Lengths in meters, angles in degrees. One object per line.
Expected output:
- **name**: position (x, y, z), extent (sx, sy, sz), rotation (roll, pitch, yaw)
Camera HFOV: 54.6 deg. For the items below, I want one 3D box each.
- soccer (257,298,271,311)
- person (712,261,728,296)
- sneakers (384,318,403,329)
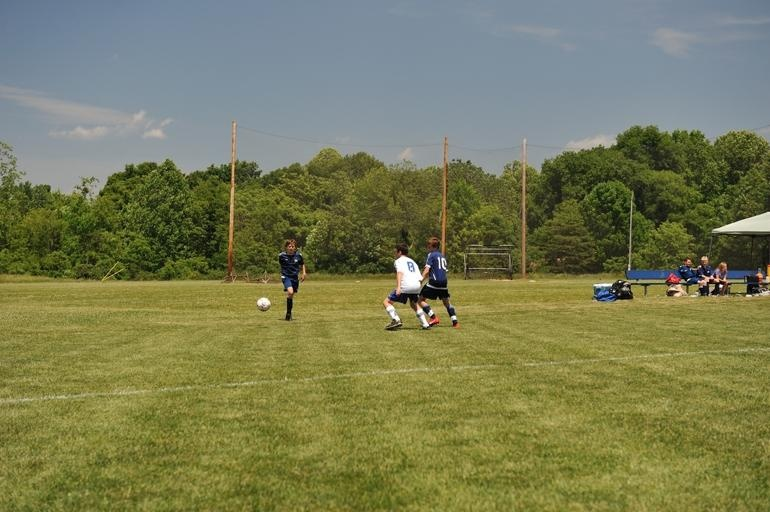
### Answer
- **soccer**: position (-3.575, 1.435, 22.000), extent (0.257, 0.258, 0.260), rotation (-24, 0, 21)
- **person**: position (11.816, 0.795, 26.248), extent (0.500, 1.394, 1.365), rotation (6, 14, 25)
- **sneakers**: position (0.172, 1.626, 17.540), extent (0.170, 0.209, 0.496), rotation (6, -9, -44)
